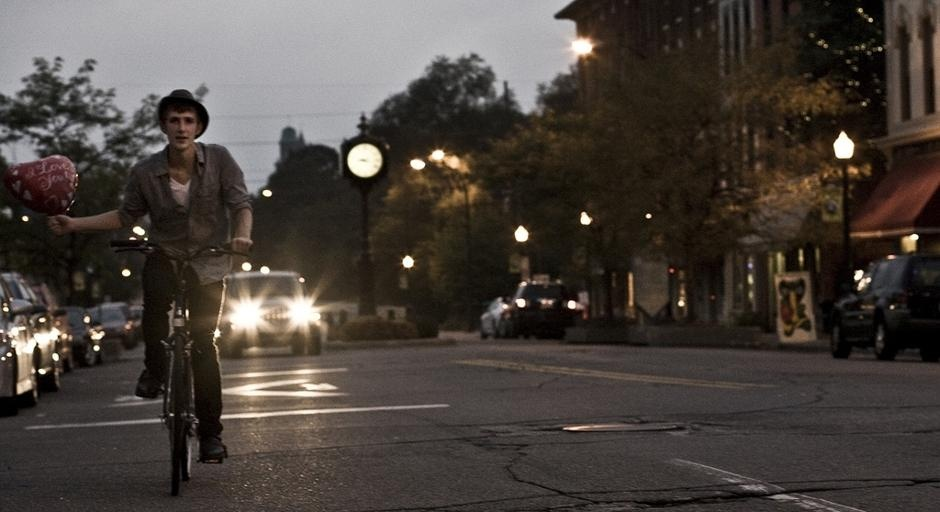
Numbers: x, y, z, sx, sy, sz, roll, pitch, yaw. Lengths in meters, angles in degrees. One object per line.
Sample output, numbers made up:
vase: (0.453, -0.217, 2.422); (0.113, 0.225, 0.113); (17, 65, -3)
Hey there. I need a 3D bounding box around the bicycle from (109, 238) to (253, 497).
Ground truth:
bicycle: (-3.900, 1.474, 16.494); (1.005, 3.408, 0.945); (-8, -8, 37)
